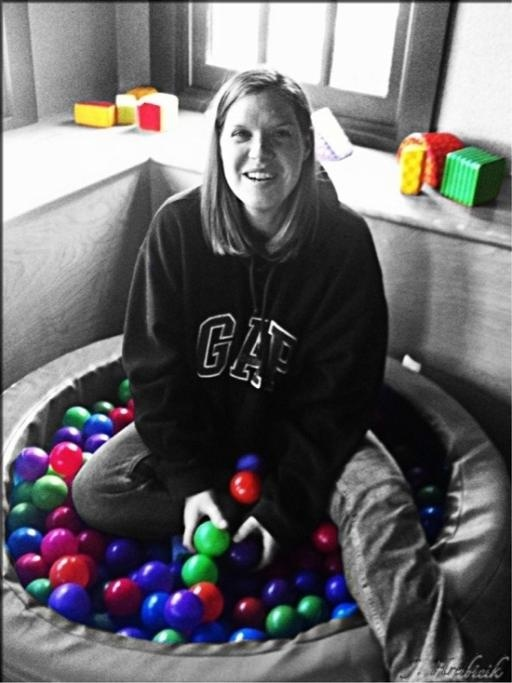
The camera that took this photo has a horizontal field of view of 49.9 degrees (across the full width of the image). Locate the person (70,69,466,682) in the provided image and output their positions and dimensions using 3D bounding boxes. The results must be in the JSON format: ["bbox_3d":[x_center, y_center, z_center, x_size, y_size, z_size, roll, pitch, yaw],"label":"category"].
[{"bbox_3d":[-0.048,0.010,0.838,0.474,0.773,0.167,12,25,14],"label":"person"}]
